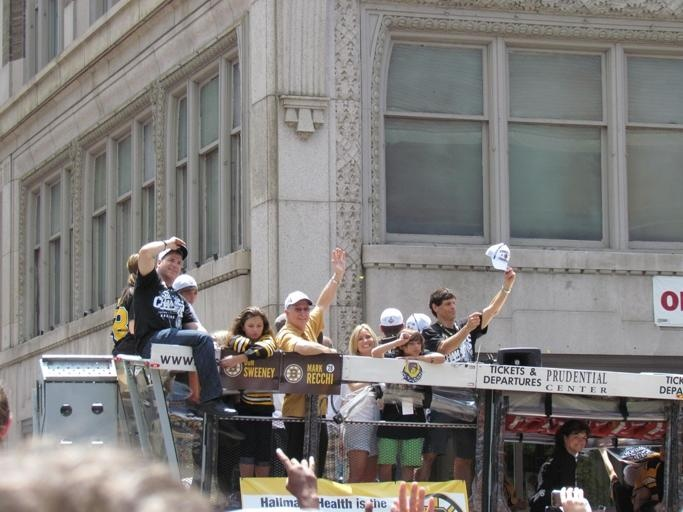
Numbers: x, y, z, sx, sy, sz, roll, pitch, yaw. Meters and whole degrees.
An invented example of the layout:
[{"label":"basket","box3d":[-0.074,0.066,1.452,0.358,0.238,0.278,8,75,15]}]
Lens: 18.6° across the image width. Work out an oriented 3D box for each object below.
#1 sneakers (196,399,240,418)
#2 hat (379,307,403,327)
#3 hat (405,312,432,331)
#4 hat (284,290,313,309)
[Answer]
[{"label":"sneakers","box3d":[-1.602,1.971,27.137,0.527,0.186,0.198,4,1,6]},{"label":"hat","box3d":[0.710,0.865,29.849,0.361,0.204,0.517,-2,2,4]},{"label":"hat","box3d":[1.095,0.907,29.172,0.331,0.165,0.203,-4,10,-36]},{"label":"hat","box3d":[-0.624,0.570,28.584,0.258,0.184,0.351,5,-13,-20]}]
